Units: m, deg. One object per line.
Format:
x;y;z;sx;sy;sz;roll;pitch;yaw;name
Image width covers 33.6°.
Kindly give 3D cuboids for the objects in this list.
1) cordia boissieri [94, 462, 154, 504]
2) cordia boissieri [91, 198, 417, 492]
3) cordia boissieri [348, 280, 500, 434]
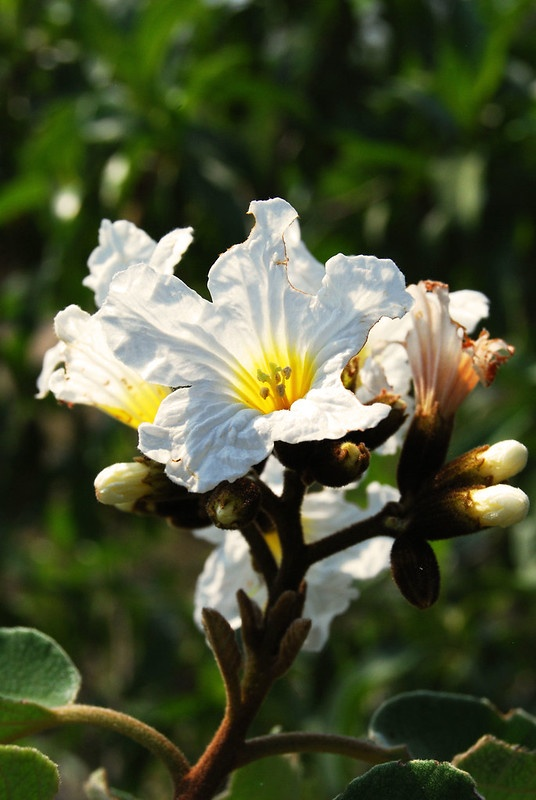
-0.134;0.085;0.862;0.056;0.032;0.032;-12;49;1;cordia boissieri
0.000;-0.045;0.796;0.311;0.112;0.243;-17;67;14;cordia boissieri
0.139;-0.050;0.932;0.050;0.179;0.150;21;92;68;cordia boissieri
